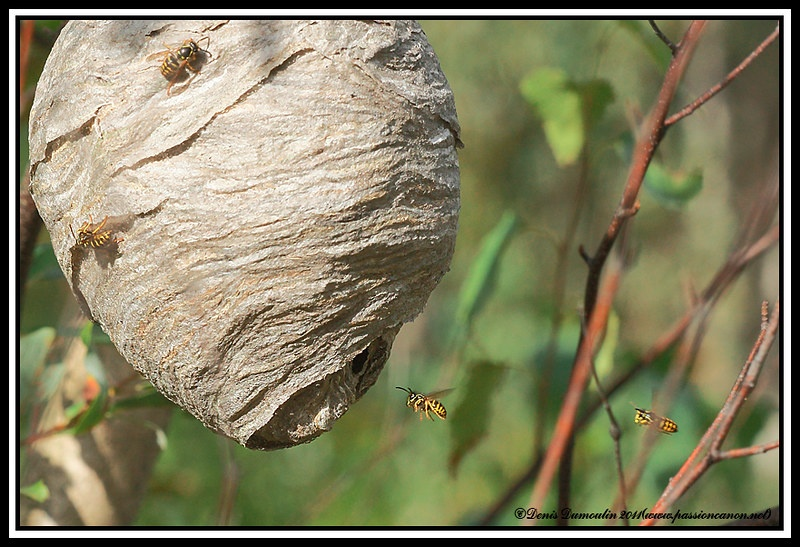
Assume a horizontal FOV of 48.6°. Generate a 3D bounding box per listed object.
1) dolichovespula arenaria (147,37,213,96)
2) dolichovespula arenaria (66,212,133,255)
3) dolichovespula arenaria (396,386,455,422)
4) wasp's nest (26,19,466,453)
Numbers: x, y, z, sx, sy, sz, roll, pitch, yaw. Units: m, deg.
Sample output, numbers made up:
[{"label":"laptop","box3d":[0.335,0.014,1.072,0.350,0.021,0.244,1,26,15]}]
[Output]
[{"label":"dolichovespula arenaria","box3d":[-0.831,-0.815,3.345,0.204,0.150,0.064,-21,40,34]},{"label":"dolichovespula arenaria","box3d":[-1.149,-0.152,3.359,0.178,0.147,0.073,4,12,26]},{"label":"dolichovespula arenaria","box3d":[0.099,0.588,4.059,0.186,0.202,0.104,6,71,3]},{"label":"wasp's nest","box3d":[-0.606,-0.243,3.485,1.573,1.056,1.371,11,51,3]}]
